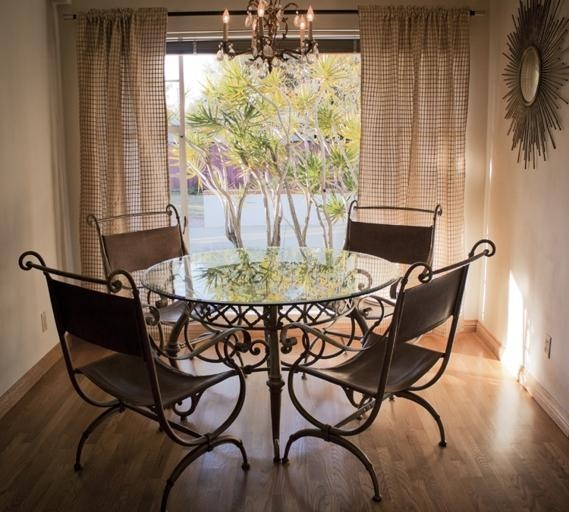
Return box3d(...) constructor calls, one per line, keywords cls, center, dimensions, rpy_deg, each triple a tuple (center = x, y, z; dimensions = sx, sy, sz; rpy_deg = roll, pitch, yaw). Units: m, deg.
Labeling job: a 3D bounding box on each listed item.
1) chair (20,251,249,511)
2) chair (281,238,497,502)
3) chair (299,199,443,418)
box3d(cls="chair", center=(-0.558, 0.450, 1.733), dimensions=(0.740, 0.934, 0.556), rpy_deg=(4, 12, 22))
box3d(cls="chair", center=(0.494, 0.169, 2.240), dimensions=(0.871, 1.495, 0.899), rpy_deg=(6, 10, 37))
box3d(cls="chair", center=(0.407, 0.163, 3.030), dimensions=(0.753, 1.597, 1.083), rpy_deg=(8, 13, 29))
